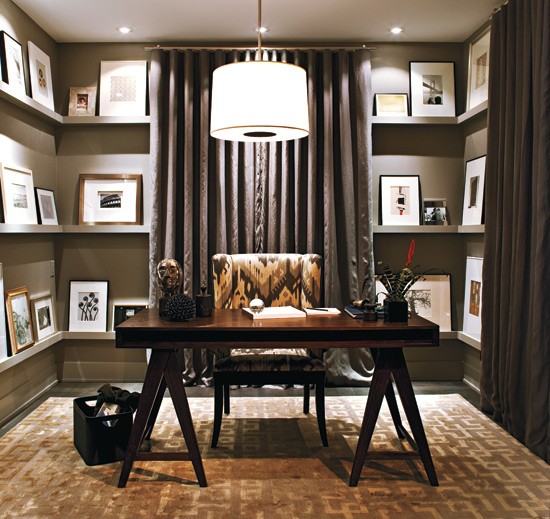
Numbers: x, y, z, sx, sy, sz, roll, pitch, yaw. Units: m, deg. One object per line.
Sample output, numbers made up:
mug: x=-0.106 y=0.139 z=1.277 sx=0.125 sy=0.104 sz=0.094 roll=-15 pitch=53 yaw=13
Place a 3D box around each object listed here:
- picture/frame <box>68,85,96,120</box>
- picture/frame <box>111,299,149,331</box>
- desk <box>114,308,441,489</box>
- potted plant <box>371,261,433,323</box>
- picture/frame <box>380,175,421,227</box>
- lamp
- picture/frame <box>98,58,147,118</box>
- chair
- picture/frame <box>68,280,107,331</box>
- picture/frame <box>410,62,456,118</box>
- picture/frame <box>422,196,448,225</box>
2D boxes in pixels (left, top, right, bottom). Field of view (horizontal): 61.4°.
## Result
picture/frame: x=-1.611 y=-1.309 z=3.884 sx=0.231 sy=0.404 sz=0.030 roll=0 pitch=-9 yaw=-4
picture/frame: x=-1.013 y=0.386 z=3.224 sx=0.220 sy=0.274 sz=0.126 roll=0 pitch=-4 yaw=-1
desk: x=0.020 y=0.765 z=2.614 sx=1.597 sy=1.029 sz=0.670 roll=0 pitch=10 yaw=0
potted plant: x=0.650 y=0.181 z=2.545 sx=0.284 sy=0.469 sz=0.333 roll=3 pitch=-2 yaw=-1
picture/frame: x=1.074 y=-0.512 z=3.968 sx=0.322 sy=0.485 sz=0.023 roll=5 pitch=41 yaw=23
lamp: x=-0.074 y=-0.819 z=2.409 sx=0.506 sy=0.328 sz=0.373 roll=0 pitch=4 yaw=-8
picture/frame: x=-1.269 y=-1.432 z=3.892 sx=0.377 sy=0.609 sz=0.034 roll=0 pitch=-5 yaw=-2
chair: x=-0.032 y=0.503 z=3.120 sx=0.739 sy=1.558 sz=0.992 roll=0 pitch=-10 yaw=-1
picture/frame: x=-1.576 y=0.388 z=3.936 sx=0.318 sy=0.506 sz=0.014 roll=6 pitch=-36 yaw=-29
picture/frame: x=1.349 y=-1.455 z=3.949 sx=0.381 sy=0.019 sz=0.536 roll=14 pitch=-29 yaw=29
picture/frame: x=1.358 y=-0.404 z=3.962 sx=0.220 sy=0.293 sz=0.184 roll=0 pitch=-7 yaw=0
